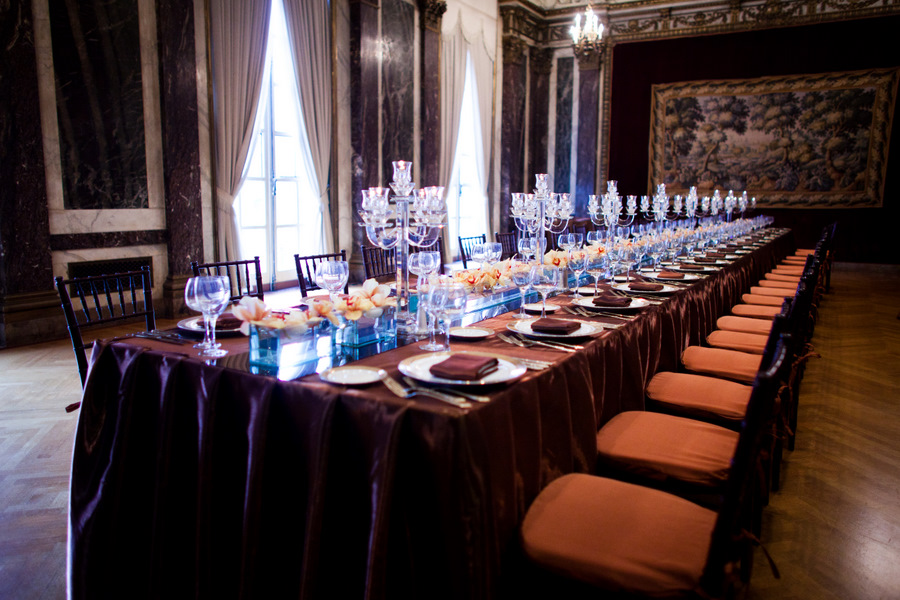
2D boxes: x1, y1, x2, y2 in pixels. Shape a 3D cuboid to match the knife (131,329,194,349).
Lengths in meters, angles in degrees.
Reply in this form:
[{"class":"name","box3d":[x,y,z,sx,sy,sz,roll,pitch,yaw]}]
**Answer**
[{"class":"knife","box3d":[-1.317,0.163,2.856,0.352,0.022,0.106,10,12,35]}]
